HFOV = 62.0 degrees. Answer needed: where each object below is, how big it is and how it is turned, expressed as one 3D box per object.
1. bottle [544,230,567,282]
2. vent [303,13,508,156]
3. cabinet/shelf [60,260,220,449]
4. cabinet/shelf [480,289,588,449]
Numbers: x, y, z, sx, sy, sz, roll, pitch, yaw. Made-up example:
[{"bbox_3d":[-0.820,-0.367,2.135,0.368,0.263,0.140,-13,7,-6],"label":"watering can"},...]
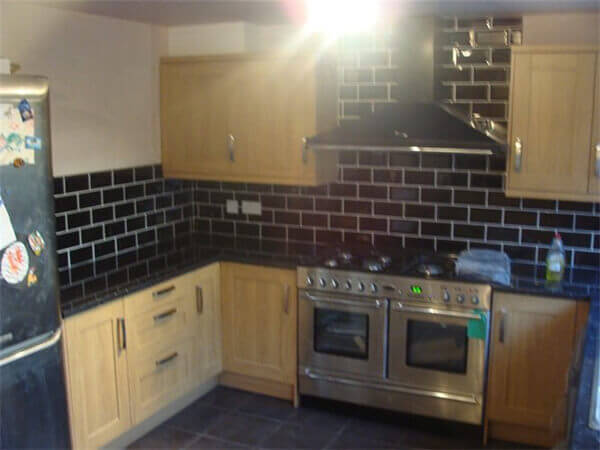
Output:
[{"bbox_3d":[1.616,0.207,3.133,0.103,0.270,0.207,7,16,28],"label":"bottle"},{"bbox_3d":[0.741,-0.927,3.298,0.917,0.642,0.508,4,14,21],"label":"vent"},{"bbox_3d":[-1.015,0.810,3.090,0.359,0.750,1.036,3,10,25],"label":"cabinet/shelf"},{"bbox_3d":[1.374,0.924,2.951,0.524,0.990,0.340,6,15,25],"label":"cabinet/shelf"}]
